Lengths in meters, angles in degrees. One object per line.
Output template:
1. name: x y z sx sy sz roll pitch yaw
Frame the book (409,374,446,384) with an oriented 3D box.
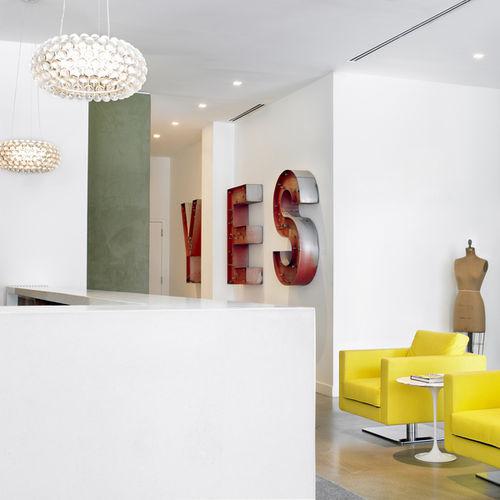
1. book: 1.284 0.937 3.817 0.222 0.038 0.190 -2 -4 18

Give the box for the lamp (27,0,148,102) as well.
1. lamp: -1.043 -1.140 3.397 0.464 0.909 0.526 1 -8 -2

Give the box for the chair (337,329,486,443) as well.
1. chair: 1.311 1.055 4.459 0.877 1.210 0.974 4 -6 -24

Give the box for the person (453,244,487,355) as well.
1. person: 2.707 0.748 6.480 0.322 1.836 0.309 4 23 34
